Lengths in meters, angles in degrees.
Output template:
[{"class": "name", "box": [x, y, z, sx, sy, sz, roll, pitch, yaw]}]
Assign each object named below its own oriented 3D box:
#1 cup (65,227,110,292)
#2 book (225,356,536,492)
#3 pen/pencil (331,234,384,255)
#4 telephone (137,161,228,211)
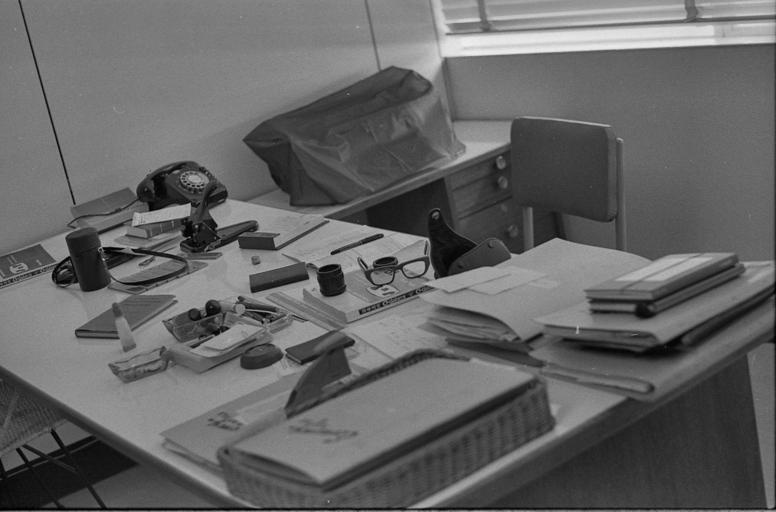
[{"class": "cup", "box": [-0.860, 0.005, 1.720, 0.116, 0.181, 0.112, 5, 22, -2]}, {"class": "book", "box": [-0.008, 0.262, 0.973, 0.491, 0.068, 0.183, -17, 23, -20]}, {"class": "pen/pencil", "box": [-0.085, -0.033, 1.695, 0.122, 0.016, 0.016, -23, 53, -25]}, {"class": "telephone", "box": [-0.756, -0.268, 2.138, 0.273, 0.120, 0.283, -21, 40, -37]}]
